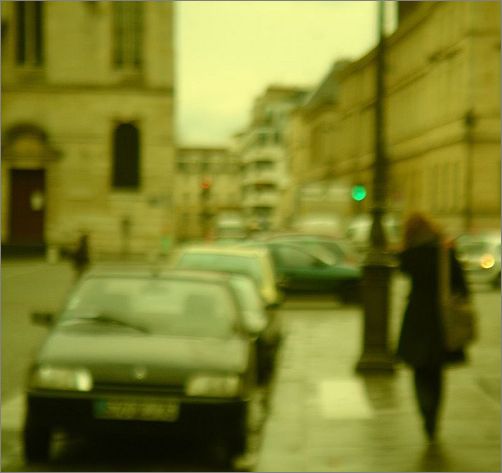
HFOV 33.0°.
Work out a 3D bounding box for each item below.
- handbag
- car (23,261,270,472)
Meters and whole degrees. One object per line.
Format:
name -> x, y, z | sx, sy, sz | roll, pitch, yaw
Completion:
handbag -> 1.592, 0.447, 6.473 | 0.282, 1.080, 0.215 | 0, 33, 13
car -> -0.707, 0.901, 6.559 | 1.194, 0.865, 1.882 | 1, 2, 3
